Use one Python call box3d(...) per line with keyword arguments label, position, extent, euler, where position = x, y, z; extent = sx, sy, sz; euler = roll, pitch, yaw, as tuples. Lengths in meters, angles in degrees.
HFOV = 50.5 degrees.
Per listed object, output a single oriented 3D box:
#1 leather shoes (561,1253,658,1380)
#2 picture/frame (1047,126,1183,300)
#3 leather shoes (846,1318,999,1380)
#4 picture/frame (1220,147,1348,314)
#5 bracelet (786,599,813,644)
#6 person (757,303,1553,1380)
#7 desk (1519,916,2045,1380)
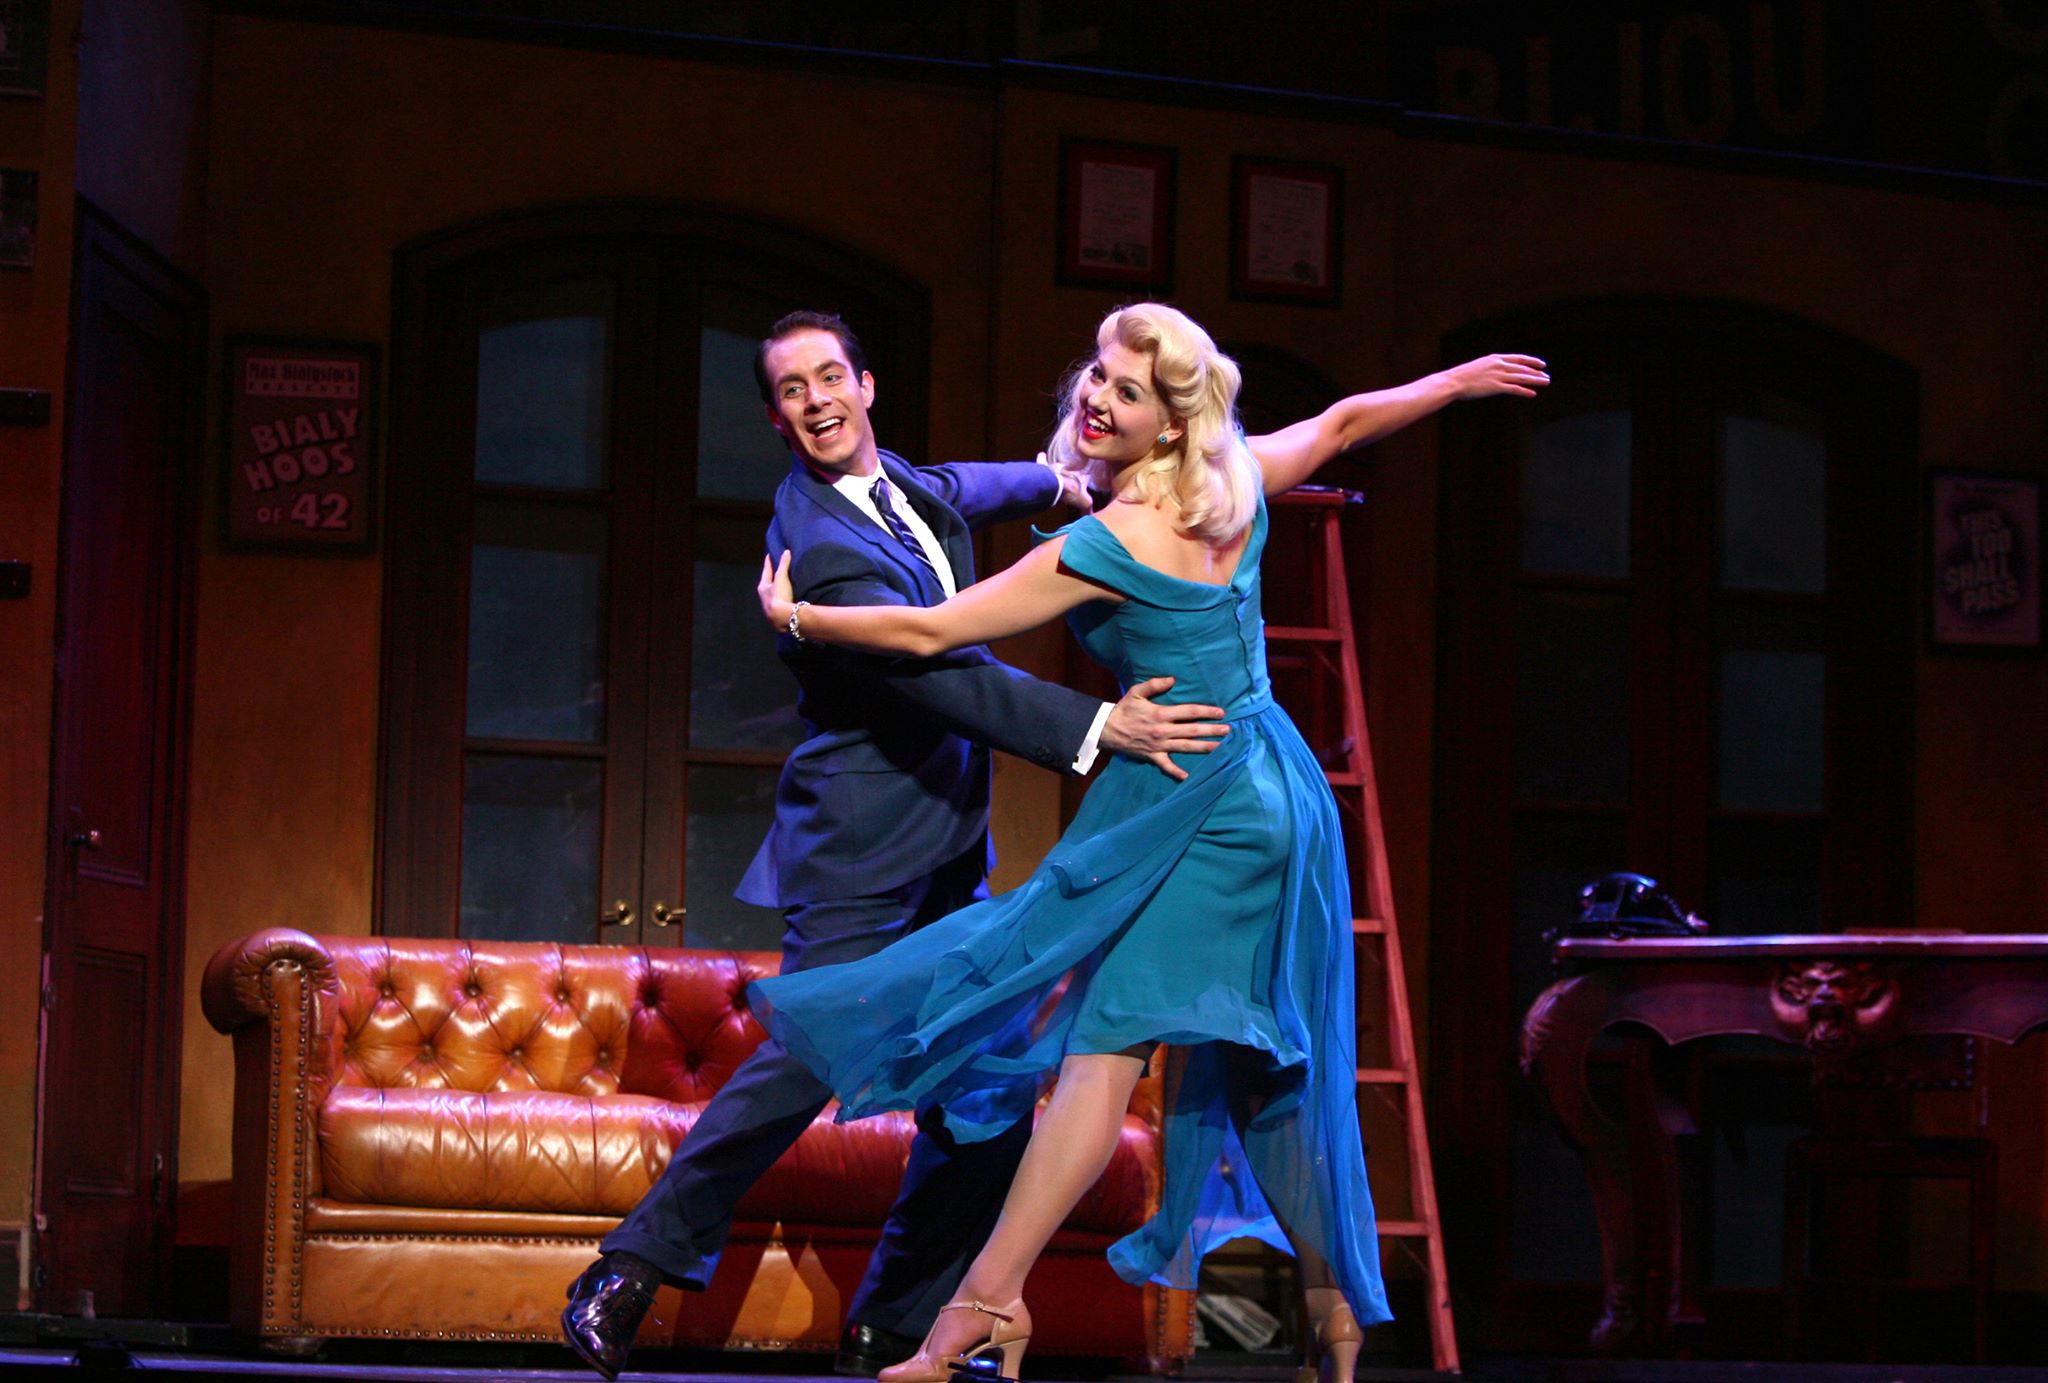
box3d(label="leather shoes", position=(-0.934, 1.373, 4.848), extent=(0.153, 0.125, 0.339), euler=(-17, 28, -1))
box3d(label="picture/frame", position=(0.285, -1.615, 7.372), extent=(0.593, 0.706, 0.046), euler=(1, 0, -11))
box3d(label="leather shoes", position=(-0.238, 1.508, 5.016), extent=(0.347, 0.138, 0.196), euler=(6, -11, -3))
box3d(label="picture/frame", position=(0.872, -1.573, 7.465), extent=(0.559, 0.644, 0.049), euler=(2, -6, -15))
box3d(label="bracelet", position=(-0.501, -0.166, 4.882), extent=(0.037, 0.077, 0.064), euler=(5, -15, 3))
box3d(label="person", position=(0.243, 0.337, 4.827), extent=(1.392, 2.319, 0.592), euler=(-1, -10, 5))
box3d(label="desk", position=(2.368, 1.460, 6.776), extent=(1.349, 0.934, 0.880), euler=(-1, -14, 4))
